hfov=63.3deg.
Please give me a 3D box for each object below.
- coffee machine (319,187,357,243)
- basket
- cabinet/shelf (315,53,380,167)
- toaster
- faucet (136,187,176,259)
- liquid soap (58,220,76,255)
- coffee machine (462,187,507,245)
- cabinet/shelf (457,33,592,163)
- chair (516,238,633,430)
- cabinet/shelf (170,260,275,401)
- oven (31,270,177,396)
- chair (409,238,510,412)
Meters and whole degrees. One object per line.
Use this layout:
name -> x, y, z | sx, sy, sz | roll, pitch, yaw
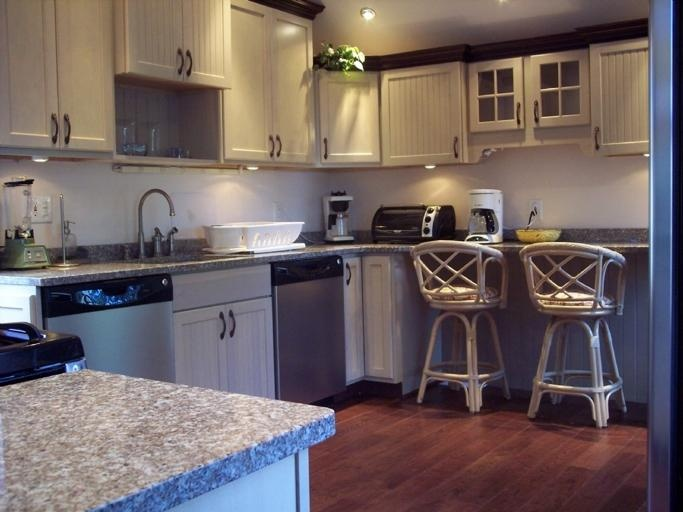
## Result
coffee machine -> -0.026, -0.324, 4.518 | 0.246, 0.402, 0.271 | 6, 13, 43
basket -> -0.556, -0.122, 3.647 | 0.654, 0.175, 0.274 | -6, 5, -43
cabinet/shelf -> 0.086, -1.035, 4.373 | 0.521, 0.736, 0.513 | -2, 0, 11
toaster -> 0.545, -0.206, 4.302 | 0.546, 0.310, 0.378 | 2, -9, 32
faucet -> -1.138, -0.210, 3.449 | 0.313, 0.421, 0.196 | -5, 5, -40
liquid soap -> -1.519, -0.094, 3.087 | 0.043, 0.207, 0.103 | -2, 4, 0
coffee machine -> 1.027, -0.275, 3.973 | 0.228, 0.391, 0.271 | 1, 0, 42
cabinet/shelf -> 1.357, -1.008, 3.895 | 0.816, 0.732, 0.323 | 1, -4, 32
chair -> 1.459, 0.441, 3.472 | 0.596, 1.092, 0.833 | 0, 4, 28
cabinet/shelf -> -0.700, 0.410, 3.249 | 0.569, 0.840, 0.381 | -6, 24, -18
oven -> -1.156, 0.431, 2.728 | 0.583, 0.698, 0.347 | -4, 8, -36
chair -> 0.820, 0.430, 3.786 | 0.631, 1.101, 0.860 | -1, 4, 16
